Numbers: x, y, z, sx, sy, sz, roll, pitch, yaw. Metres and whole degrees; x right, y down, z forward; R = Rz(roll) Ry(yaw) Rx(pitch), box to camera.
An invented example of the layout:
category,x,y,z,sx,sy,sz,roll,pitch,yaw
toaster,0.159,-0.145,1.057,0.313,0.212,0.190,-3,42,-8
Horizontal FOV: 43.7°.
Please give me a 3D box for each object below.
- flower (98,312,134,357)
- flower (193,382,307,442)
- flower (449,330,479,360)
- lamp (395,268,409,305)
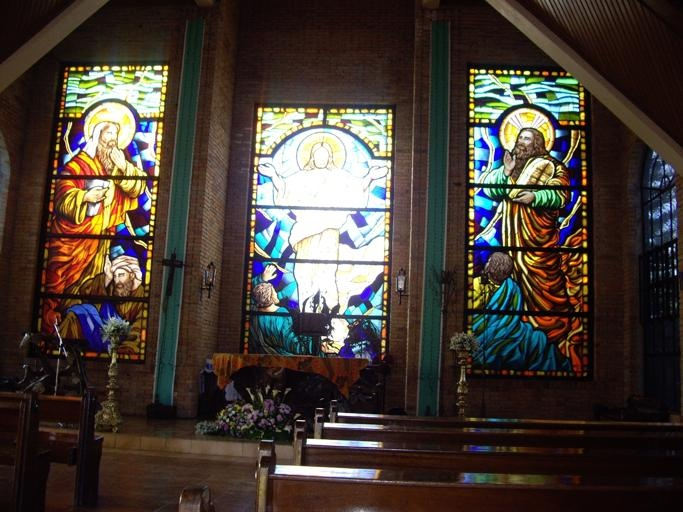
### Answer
category,x,y,z,sx,sy,sz,roll,pitch,yaw
flower,-3.655,1.289,13.860,0.603,0.862,0.584,3,-30,-6
flower,-1.290,2.268,12.492,1.309,0.827,1.700,2,-1,-6
flower,1.903,1.342,13.120,0.392,0.362,0.409,-2,-12,22
lamp,1.061,0.496,15.031,0.221,0.633,0.229,3,-11,1
